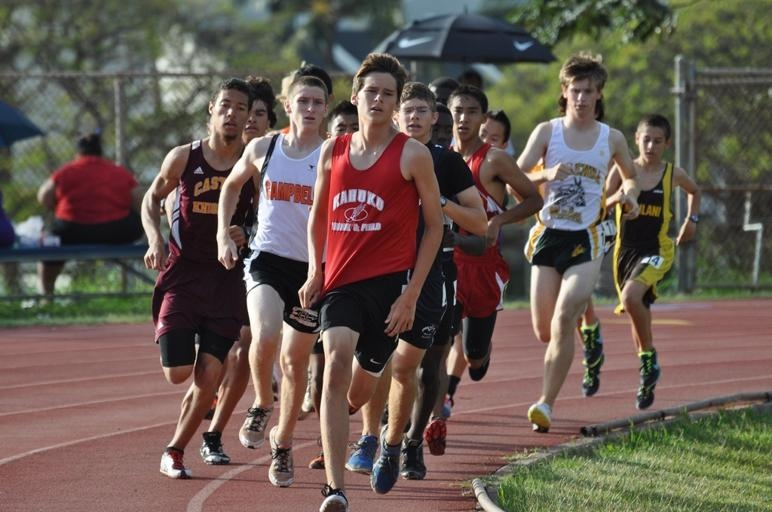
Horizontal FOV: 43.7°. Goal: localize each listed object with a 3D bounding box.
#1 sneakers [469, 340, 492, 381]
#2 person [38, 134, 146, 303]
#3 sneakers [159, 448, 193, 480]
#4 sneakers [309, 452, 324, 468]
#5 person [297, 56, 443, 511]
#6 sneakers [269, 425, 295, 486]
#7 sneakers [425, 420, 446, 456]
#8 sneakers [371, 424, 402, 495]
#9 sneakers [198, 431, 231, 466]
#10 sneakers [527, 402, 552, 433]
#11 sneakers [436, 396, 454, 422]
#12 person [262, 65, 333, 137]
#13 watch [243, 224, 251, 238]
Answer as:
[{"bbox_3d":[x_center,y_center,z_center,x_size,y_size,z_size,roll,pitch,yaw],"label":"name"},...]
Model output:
[{"bbox_3d":[0.952,0.980,9.561,0.160,0.489,0.185,8,-13,11],"label":"sneakers"},{"bbox_3d":[-4.164,-0.897,13.653,1.319,1.580,0.361,-4,9,-17],"label":"person"},{"bbox_3d":[-1.776,1.756,8.181,0.142,0.179,0.386,3,-3,-32],"label":"sneakers"},{"bbox_3d":[-0.587,1.785,8.408,0.097,0.120,0.265,6,-19,-19],"label":"sneakers"},{"bbox_3d":[-0.144,0.078,7.431,1.035,3.191,0.816,-5,9,-22],"label":"person"},{"bbox_3d":[-0.852,1.639,7.857,0.184,0.441,0.222,-2,9,-5],"label":"sneakers"},{"bbox_3d":[0.433,1.542,8.338,0.158,0.324,0.130,1,18,3],"label":"sneakers"},{"bbox_3d":[0.035,1.593,7.799,0.188,0.605,0.242,21,-35,-23],"label":"sneakers"},{"bbox_3d":[-1.463,1.668,8.346,0.147,0.188,0.393,2,2,-20],"label":"sneakers"},{"bbox_3d":[1.426,1.511,8.896,0.142,0.180,0.380,-1,-32,18],"label":"sneakers"},{"bbox_3d":[0.581,1.497,9.439,0.126,0.190,0.398,-1,-15,4],"label":"sneakers"},{"bbox_3d":[-0.749,-1.480,8.876,0.553,0.772,0.775,-2,27,-13],"label":"person"},{"bbox_3d":[-1.229,-0.216,8.583,0.073,0.113,0.038,7,-1,39],"label":"watch"}]
